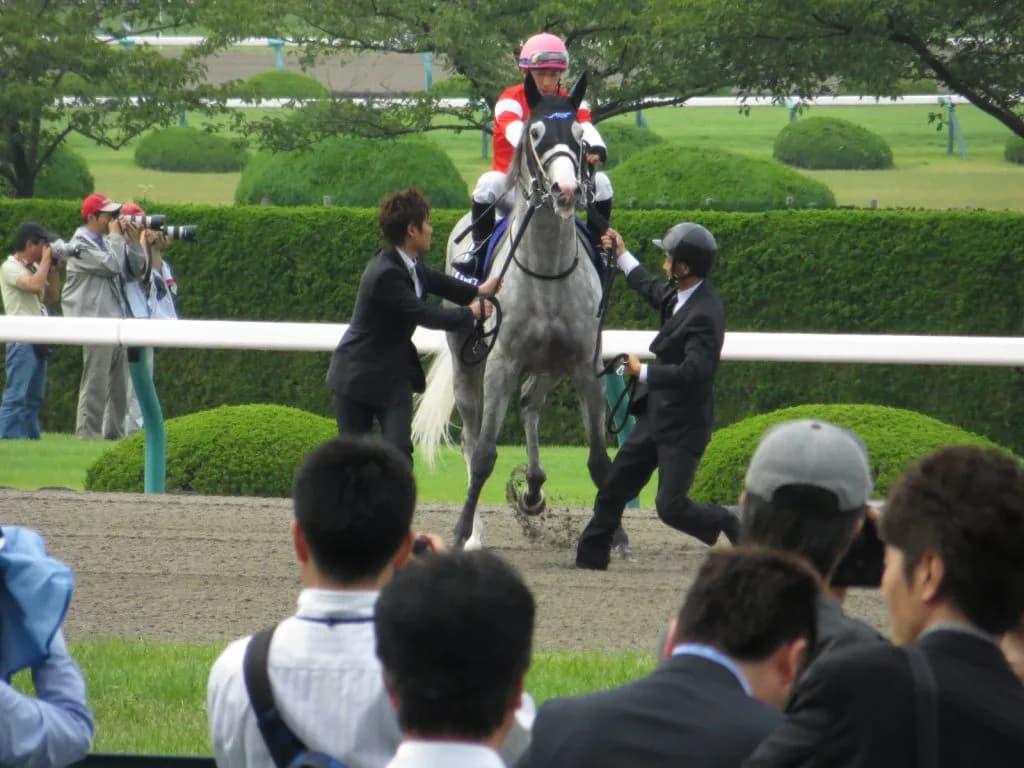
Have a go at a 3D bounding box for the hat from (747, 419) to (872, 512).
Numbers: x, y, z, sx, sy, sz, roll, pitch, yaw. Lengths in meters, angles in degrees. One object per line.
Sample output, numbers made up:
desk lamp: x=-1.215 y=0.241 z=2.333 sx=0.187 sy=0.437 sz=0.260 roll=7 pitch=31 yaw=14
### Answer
hat: x=2.126 y=0.548 z=16.907 sx=0.749 sy=0.458 sz=0.584 roll=15 pitch=23 yaw=23

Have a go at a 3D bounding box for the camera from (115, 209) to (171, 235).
camera: x=-3.566 y=-1.580 z=22.640 sx=0.789 sy=0.324 sz=0.184 roll=6 pitch=2 yaw=37

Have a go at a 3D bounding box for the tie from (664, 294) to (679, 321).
tie: x=1.308 y=-0.657 z=19.793 sx=0.047 sy=0.204 sz=0.114 roll=17 pitch=-5 yaw=-34

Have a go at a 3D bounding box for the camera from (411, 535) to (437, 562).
camera: x=-0.638 y=1.162 z=16.705 sx=0.147 sy=0.155 sz=0.058 roll=1 pitch=-2 yaw=6

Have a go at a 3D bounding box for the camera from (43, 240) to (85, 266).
camera: x=-4.359 y=-1.312 z=23.014 sx=0.290 sy=0.184 sz=0.136 roll=0 pitch=19 yaw=35

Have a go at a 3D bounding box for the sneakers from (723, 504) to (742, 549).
sneakers: x=1.760 y=1.160 z=19.464 sx=0.135 sy=0.371 sz=0.203 roll=7 pitch=-11 yaw=-29

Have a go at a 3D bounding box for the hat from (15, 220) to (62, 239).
hat: x=-4.715 y=-1.531 z=23.395 sx=0.315 sy=0.161 sz=0.204 roll=2 pitch=11 yaw=-3

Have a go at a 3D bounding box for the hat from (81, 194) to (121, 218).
hat: x=-4.045 y=-1.783 z=23.153 sx=0.301 sy=0.170 sz=0.217 roll=-7 pitch=10 yaw=-9

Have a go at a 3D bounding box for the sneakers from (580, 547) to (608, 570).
sneakers: x=0.676 y=1.477 z=20.044 sx=0.220 sy=0.225 sz=0.160 roll=5 pitch=-5 yaw=6

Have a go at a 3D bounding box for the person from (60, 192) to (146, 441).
person: x=-4.067 y=-0.630 z=23.310 sx=0.776 sy=2.495 sz=0.961 roll=4 pitch=8 yaw=-10

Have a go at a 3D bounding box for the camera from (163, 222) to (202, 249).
camera: x=-3.131 y=-1.443 z=22.150 sx=0.320 sy=0.196 sz=0.134 roll=3 pitch=24 yaw=20
